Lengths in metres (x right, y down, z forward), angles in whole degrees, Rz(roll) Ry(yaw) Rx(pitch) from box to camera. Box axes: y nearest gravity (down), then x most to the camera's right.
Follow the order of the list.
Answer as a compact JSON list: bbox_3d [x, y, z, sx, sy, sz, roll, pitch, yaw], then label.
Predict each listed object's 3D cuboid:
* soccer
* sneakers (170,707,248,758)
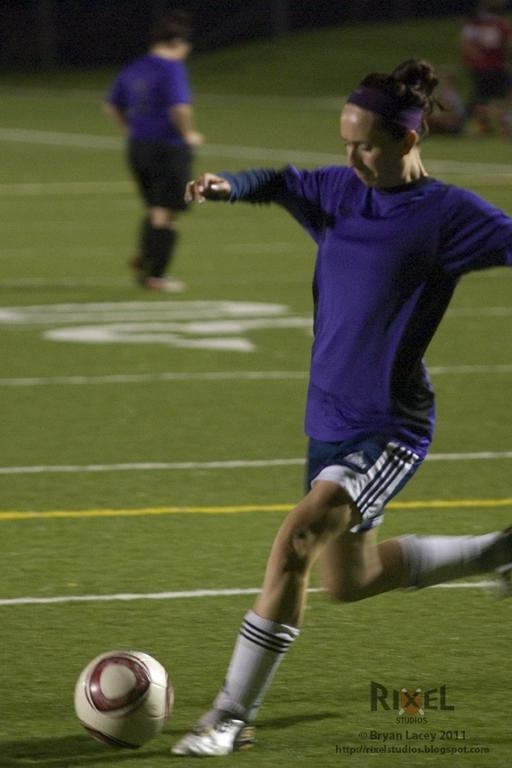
[{"bbox_3d":[-0.328,0.788,2.473,0.232,0.213,0.143,-1,12,-8],"label":"soccer"},{"bbox_3d":[-0.092,0.860,2.493,0.237,0.080,0.085,-3,1,-35],"label":"sneakers"}]
